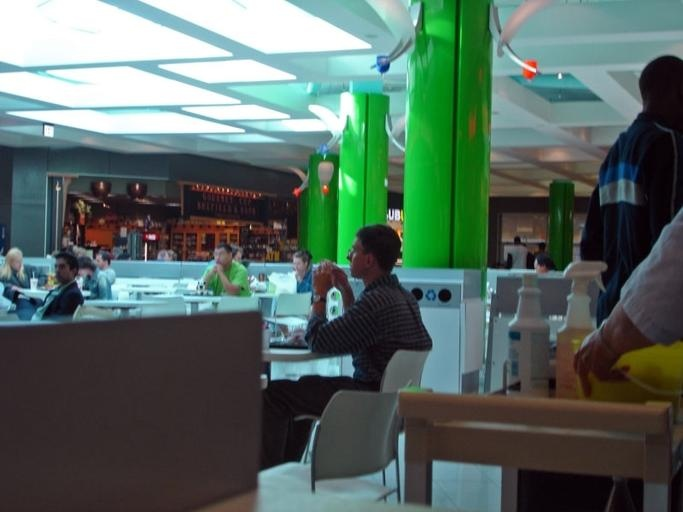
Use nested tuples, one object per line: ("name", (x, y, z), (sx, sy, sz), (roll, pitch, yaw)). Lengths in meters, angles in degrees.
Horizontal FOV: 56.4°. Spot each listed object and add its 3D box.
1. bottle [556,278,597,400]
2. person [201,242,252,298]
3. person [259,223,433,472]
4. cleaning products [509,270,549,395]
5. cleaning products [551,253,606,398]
("bottle", (0.538, 0.168, 1.472), (0.106, 0.316, 0.114), (-4, 25, 2))
("person", (-1.392, 0.292, 7.642), (0.544, 0.867, 0.545), (4, 7, 28))
("person", (-0.051, 0.528, 3.062), (0.849, 1.359, 0.526), (7, 1, 13))
("cleaning products", (0.462, 0.182, 1.543), (0.106, 0.285, 0.152), (7, 0, 19))
("cleaning products", (0.553, 0.163, 1.474), (0.097, 0.275, 0.104), (0, -1, -15))
